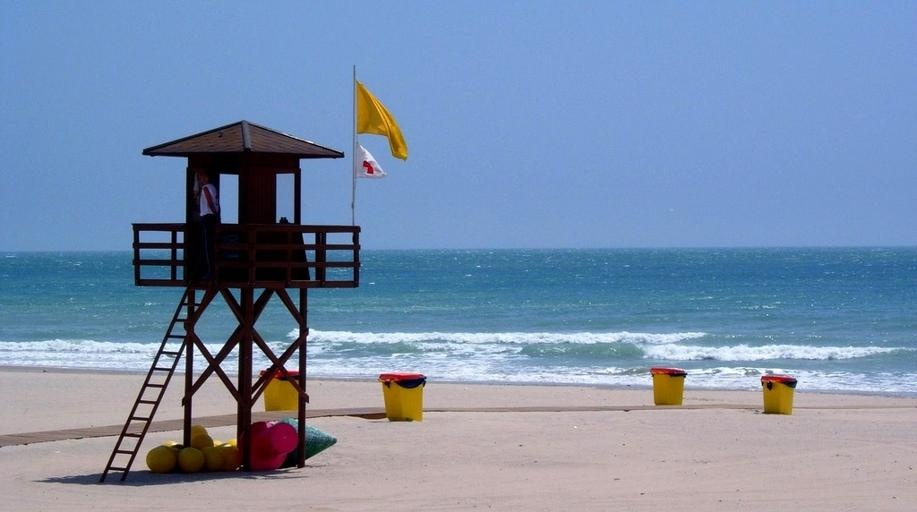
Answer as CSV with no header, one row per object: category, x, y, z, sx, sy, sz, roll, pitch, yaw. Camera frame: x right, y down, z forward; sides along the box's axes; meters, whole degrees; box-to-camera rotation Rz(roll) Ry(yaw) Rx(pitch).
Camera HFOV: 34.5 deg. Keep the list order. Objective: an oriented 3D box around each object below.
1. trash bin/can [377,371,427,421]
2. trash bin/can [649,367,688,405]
trash bin/can,-2.829,6.997,73.815,2.320,2.276,1.686,0,-1,-8
trash bin/can,10.858,6.825,76.783,1.623,1.865,1.433,3,9,12
